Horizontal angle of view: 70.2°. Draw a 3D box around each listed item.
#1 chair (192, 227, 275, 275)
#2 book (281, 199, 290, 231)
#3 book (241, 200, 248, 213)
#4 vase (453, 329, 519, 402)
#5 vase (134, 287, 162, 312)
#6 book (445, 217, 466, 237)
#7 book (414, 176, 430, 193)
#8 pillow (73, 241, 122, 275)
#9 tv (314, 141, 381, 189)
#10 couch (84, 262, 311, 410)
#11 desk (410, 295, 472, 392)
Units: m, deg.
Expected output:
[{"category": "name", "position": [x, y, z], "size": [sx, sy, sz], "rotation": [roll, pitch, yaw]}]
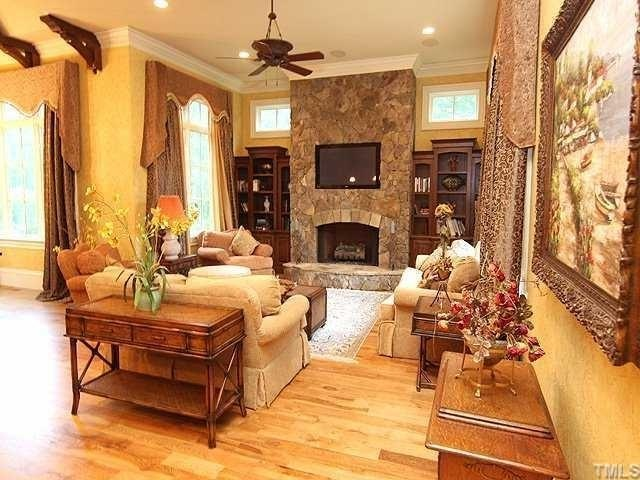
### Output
[{"category": "chair", "position": [-1.386, 0.158, 7.402], "size": [0.773, 0.843, 1.077], "rotation": [3, 5, 45]}, {"category": "book", "position": [-0.654, -0.483, 8.694], "size": [0.146, 0.555, 0.345], "rotation": [-1, 11, -5]}, {"category": "book", "position": [-1.471, -0.650, 8.955], "size": [0.037, 0.174, 0.162], "rotation": [-7, 3, -33]}, {"category": "vase", "position": [0.922, 0.668, 2.521], "size": [0.295, 0.298, 0.329], "rotation": [0, 1, -10]}, {"category": "vase", "position": [-1.289, 0.433, 3.416], "size": [0.169, 0.160, 0.177], "rotation": [1, 0, -4]}, {"category": "book", "position": [2.137, -0.194, 7.134], "size": [0.176, 0.320, 0.325], "rotation": [-1, 19, 21]}, {"category": "book", "position": [1.725, -0.908, 7.765], "size": [0.216, 0.310, 0.307], "rotation": [2, -1, -8]}, {"category": "pillow", "position": [-2.517, 0.271, 5.134], "size": [0.490, 0.528, 0.219], "rotation": [-2, -31, -21]}, {"category": "tv", "position": [0.481, -1.272, 7.836], "size": [1.152, 0.764, 0.061], "rotation": [3, 12, 17]}, {"category": "couch", "position": [-0.817, 0.981, 3.814], "size": [1.769, 1.018, 1.125], "rotation": [4, 13, 21]}, {"category": "desk", "position": [1.151, 1.007, 3.890], "size": [0.643, 0.624, 0.404], "rotation": [2, -9, 19]}]
